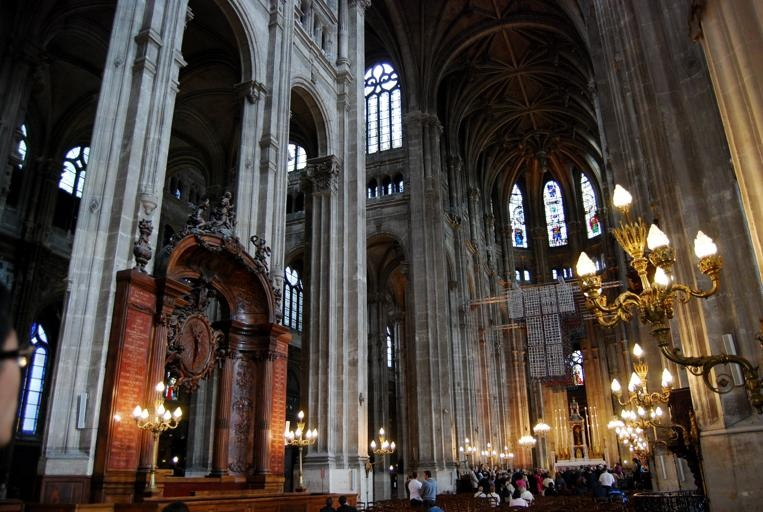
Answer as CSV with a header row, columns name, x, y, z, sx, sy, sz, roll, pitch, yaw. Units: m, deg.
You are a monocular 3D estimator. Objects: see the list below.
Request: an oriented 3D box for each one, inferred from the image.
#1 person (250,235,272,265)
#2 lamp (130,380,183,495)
name,x,y,z,sx,sy,sz,roll,pitch,yaw
person,-3.547,-0.103,15.805,0.590,0.991,0.716,4,-24,-12
lamp,-5.038,4.054,12.139,1.102,2.378,1.134,-1,-8,19
